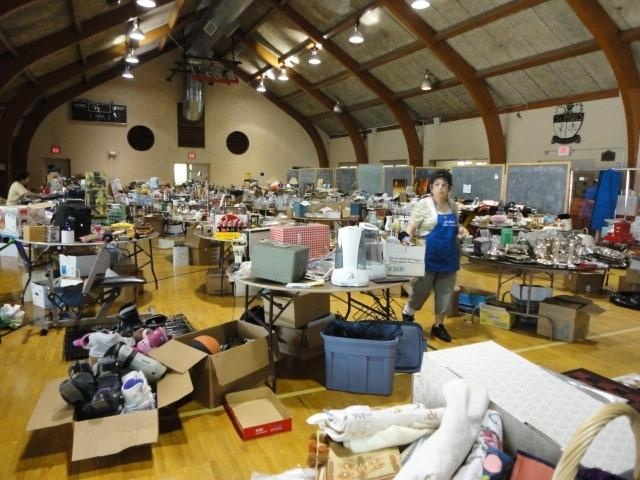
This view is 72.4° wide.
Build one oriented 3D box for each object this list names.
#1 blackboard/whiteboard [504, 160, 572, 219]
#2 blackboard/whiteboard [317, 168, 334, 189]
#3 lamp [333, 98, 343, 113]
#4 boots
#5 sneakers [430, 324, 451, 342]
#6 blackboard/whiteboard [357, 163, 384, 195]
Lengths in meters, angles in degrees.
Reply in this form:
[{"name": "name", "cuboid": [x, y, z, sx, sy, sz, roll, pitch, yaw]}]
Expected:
[{"name": "blackboard/whiteboard", "cuboid": [4.047, -0.913, 8.123, 0.131, 1.348, 1.176, -4, 1, -36]}, {"name": "blackboard/whiteboard", "cuboid": [0.039, -1.959, 13.556, 0.738, 0.729, 0.178, 5, 8, 34]}, {"name": "lamp", "cuboid": [0.602, -4.484, 14.633, 0.380, 0.597, 0.397, -1, -5, 5]}, {"name": "boots", "cuboid": [-1.428, 0.807, 3.209, 0.511, 0.286, 0.824, -2, 19, 2]}, {"name": "sneakers", "cuboid": [1.248, 0.972, 4.552, 0.094, 0.161, 0.279, -3, 2, -30]}, {"name": "blackboard/whiteboard", "cuboid": [1.376, -1.644, 11.932, 0.912, 1.055, 0.118, 8, 15, 34]}]
